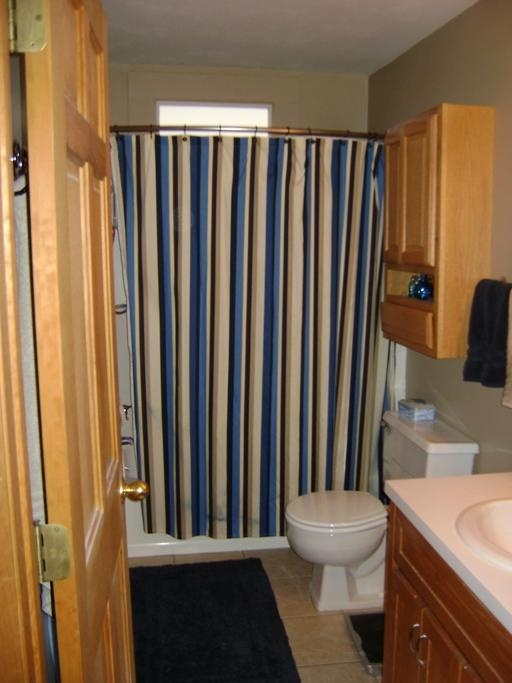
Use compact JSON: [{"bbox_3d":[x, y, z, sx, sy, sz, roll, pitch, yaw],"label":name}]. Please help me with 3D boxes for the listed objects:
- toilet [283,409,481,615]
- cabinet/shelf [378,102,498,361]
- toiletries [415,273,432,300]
[{"bbox_3d":[0.423,0.646,2.431,0.569,0.978,0.581,1,3,-3],"label":"toilet"},{"bbox_3d":[0.594,-0.384,2.192,0.121,0.820,0.406,-4,6,-18],"label":"cabinet/shelf"},{"bbox_3d":[0.609,-0.203,2.247,0.055,0.125,0.068,2,2,15],"label":"toiletries"}]
